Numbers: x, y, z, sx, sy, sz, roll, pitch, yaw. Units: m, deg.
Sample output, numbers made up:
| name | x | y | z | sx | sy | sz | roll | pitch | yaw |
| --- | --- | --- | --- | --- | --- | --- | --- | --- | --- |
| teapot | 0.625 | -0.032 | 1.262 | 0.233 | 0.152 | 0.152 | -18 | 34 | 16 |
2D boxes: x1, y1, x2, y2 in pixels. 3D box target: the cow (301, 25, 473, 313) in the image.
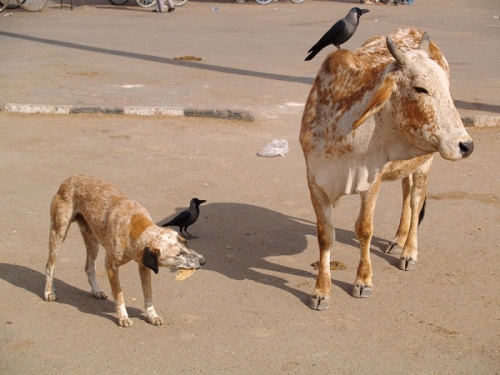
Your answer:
| name | x | y | z | sx | sy | sz | roll | pitch | yaw |
| --- | --- | --- | --- | --- | --- | --- | --- | --- | --- |
| cow | 1.252 | -0.316 | 6.681 | 1.476 | 2.556 | 1.953 | 3 | 25 | 5 |

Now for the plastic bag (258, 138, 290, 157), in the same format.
| name | x | y | z | sx | sy | sz | roll | pitch | yaw |
| --- | --- | --- | --- | --- | --- | --- | --- | --- | --- |
| plastic bag | 0.383 | -0.597 | 10.029 | 0.278 | 0.158 | 0.390 | 14 | 20 | 30 |
